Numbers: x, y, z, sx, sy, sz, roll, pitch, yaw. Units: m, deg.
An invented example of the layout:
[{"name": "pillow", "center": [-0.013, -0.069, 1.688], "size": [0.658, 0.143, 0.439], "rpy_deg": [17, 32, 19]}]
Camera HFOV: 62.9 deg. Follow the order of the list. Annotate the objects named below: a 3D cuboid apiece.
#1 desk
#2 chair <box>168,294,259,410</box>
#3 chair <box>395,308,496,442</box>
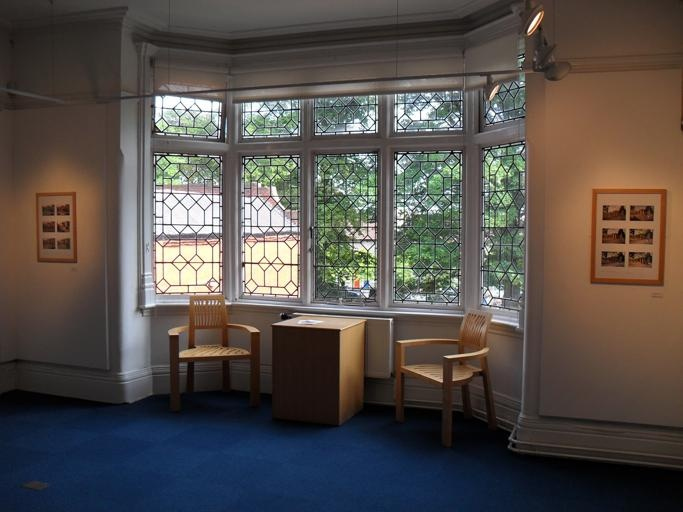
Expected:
[{"name": "desk", "center": [-0.591, 1.413, 6.430], "size": [0.945, 1.060, 1.081], "rpy_deg": [-19, -26, 37]}, {"name": "chair", "center": [-1.524, 1.133, 6.741], "size": [1.016, 1.273, 0.928], "rpy_deg": [0, 0, -10]}, {"name": "chair", "center": [1.138, 1.242, 5.952], "size": [1.033, 1.229, 1.051], "rpy_deg": [-1, 1, 1]}]
